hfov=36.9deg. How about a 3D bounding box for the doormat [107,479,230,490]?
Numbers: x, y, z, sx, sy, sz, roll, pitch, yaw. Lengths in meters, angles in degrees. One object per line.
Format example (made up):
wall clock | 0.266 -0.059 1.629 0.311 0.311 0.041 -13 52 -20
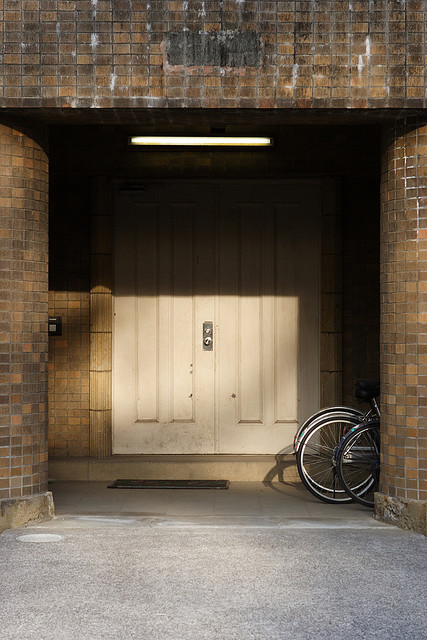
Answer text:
doormat | -0.440 1.642 6.427 1.193 0.035 0.443 0 -5 3

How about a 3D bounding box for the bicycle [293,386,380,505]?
bicycle | 1.233 1.169 6.312 0.766 1.022 1.680 0 -5 12
